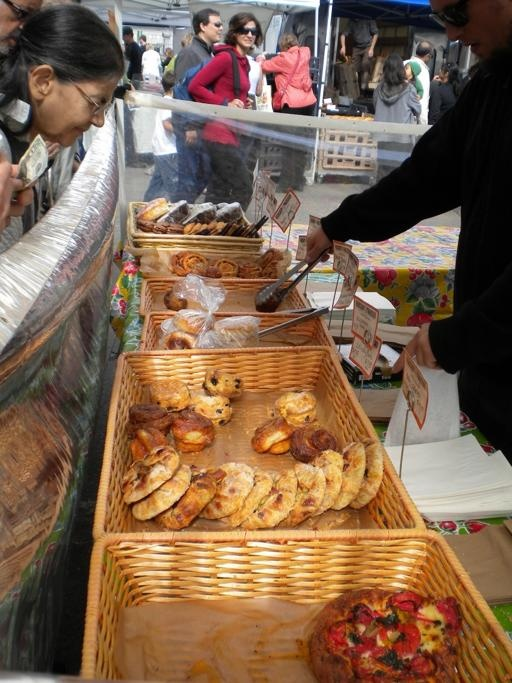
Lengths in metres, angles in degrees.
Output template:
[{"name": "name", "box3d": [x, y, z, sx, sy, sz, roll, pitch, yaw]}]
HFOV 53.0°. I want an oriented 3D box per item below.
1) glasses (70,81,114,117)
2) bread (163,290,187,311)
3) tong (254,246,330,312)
[{"name": "glasses", "box3d": [-0.570, -0.826, 1.748, 0.086, 0.027, 0.085, 60, 35, -6]}, {"name": "bread", "box3d": [-0.361, -0.185, 2.273, 0.100, 0.030, 0.100, 4, 56, -4]}, {"name": "tong", "box3d": [0.103, -0.240, 2.269, 0.129, 0.484, 0.129, 32, 27, -54]}]
